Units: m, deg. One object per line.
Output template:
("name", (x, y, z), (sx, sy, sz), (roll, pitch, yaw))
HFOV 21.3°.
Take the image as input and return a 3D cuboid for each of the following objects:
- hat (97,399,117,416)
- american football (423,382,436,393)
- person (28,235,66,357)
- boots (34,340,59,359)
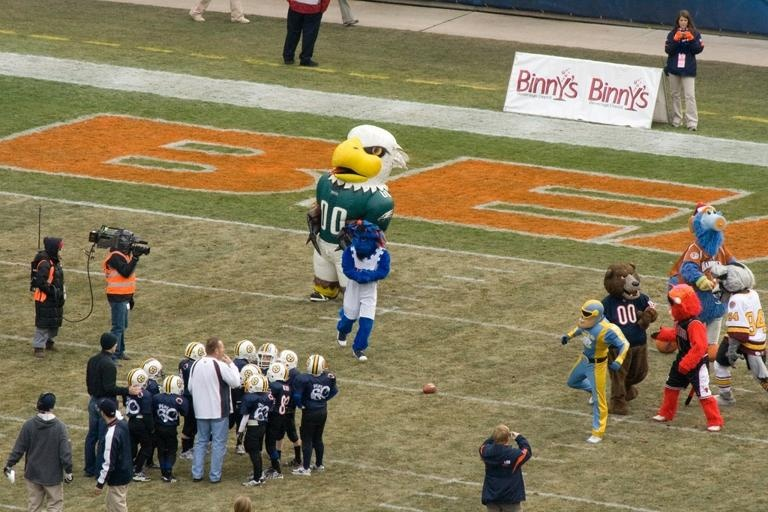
("hat", (-4.855, 2.650, 35.677), (0.183, 0.284, 0.231), (19, 42, 22))
("american football", (0.845, 2.483, 38.363), (0.222, 0.097, 0.189), (0, 2, 7))
("person", (-6.360, 0.705, 38.814), (0.886, 2.103, 0.923), (0, 2, 16))
("boots", (-6.466, 1.780, 38.779), (0.551, 0.300, 0.173), (-19, 31, -29))
